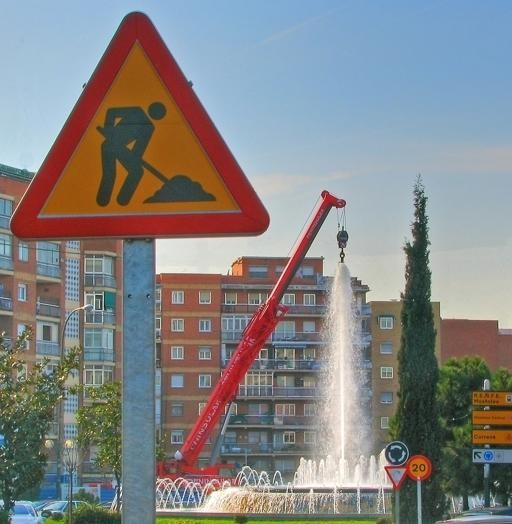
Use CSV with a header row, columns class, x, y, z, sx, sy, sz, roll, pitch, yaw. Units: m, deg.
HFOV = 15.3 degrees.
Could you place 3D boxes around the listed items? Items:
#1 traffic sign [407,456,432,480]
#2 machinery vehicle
class,x,y,z,sx,sy,sz,roll,pitch,yaw
traffic sign,5.780,7.359,67.124,0.749,0.985,0.867,-2,-1,9
machinery vehicle,-0.260,3.733,86.722,4.184,11.418,11.876,7,-16,-24
